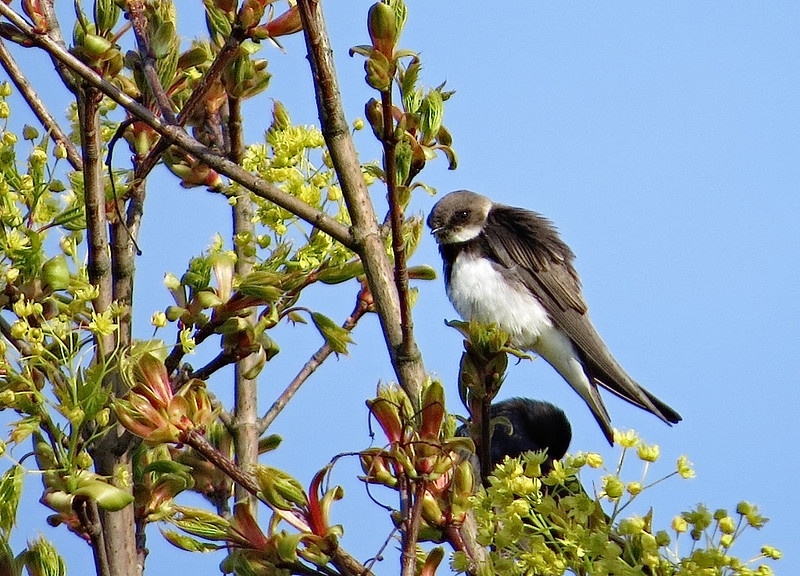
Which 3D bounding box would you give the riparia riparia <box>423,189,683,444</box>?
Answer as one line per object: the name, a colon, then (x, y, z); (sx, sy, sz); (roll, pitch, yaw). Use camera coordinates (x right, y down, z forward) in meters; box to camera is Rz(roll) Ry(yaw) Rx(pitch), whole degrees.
riparia riparia: (0.662, 0.092, 8.071); (1.222, 0.806, 0.472); (21, -19, -16)
